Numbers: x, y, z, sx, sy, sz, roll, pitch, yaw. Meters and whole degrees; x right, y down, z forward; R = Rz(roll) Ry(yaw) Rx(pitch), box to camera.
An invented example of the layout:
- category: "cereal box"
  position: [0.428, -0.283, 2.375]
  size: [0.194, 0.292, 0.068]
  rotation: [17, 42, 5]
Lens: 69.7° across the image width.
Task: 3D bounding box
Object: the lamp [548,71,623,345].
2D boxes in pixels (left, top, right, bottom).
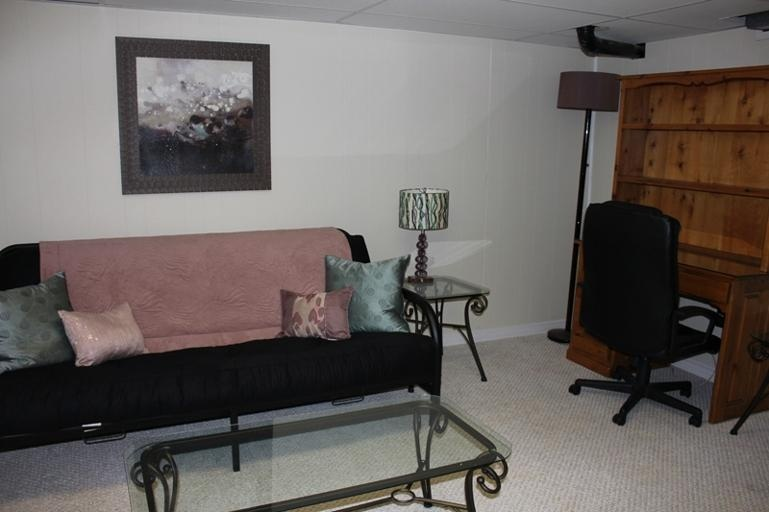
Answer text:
- category: "lamp"
  position: [1.851, -0.444, 5.235]
  size: [0.525, 2.437, 0.530]
  rotation: [5, 3, 16]

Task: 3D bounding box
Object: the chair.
- category: "chair"
  position: [1.992, 0.407, 4.182]
  size: [0.951, 1.558, 0.966]
  rotation: [-5, 13, -21]

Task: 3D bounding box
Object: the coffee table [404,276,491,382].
- category: "coffee table"
  position: [0.555, 0.657, 4.597]
  size: [0.777, 0.624, 0.744]
  rotation: [2, -14, -25]
